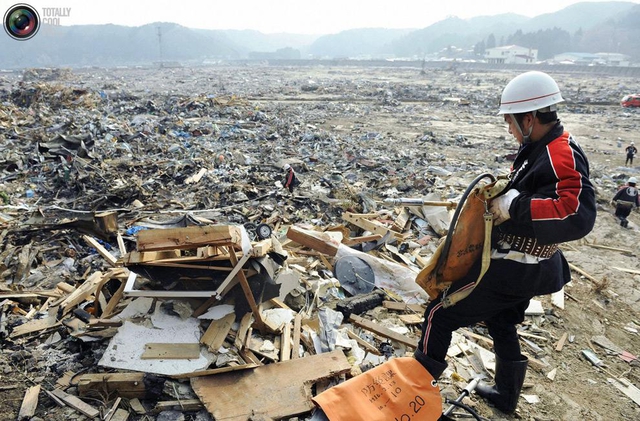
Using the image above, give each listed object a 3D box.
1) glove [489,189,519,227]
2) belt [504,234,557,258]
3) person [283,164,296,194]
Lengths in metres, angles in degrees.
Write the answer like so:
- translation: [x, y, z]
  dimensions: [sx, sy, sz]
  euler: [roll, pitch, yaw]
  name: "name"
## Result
- translation: [1.761, -0.027, 3.549]
  dimensions: [0.201, 0.321, 0.220]
  euler: [15, 27, 41]
  name: "glove"
- translation: [2.000, 0.334, 3.552]
  dimensions: [0.383, 0.134, 0.280]
  euler: [11, 2, 22]
  name: "belt"
- translation: [-0.736, -0.740, 9.050]
  dimensions: [0.456, 0.309, 0.902]
  euler: [-10, -18, -10]
  name: "person"
